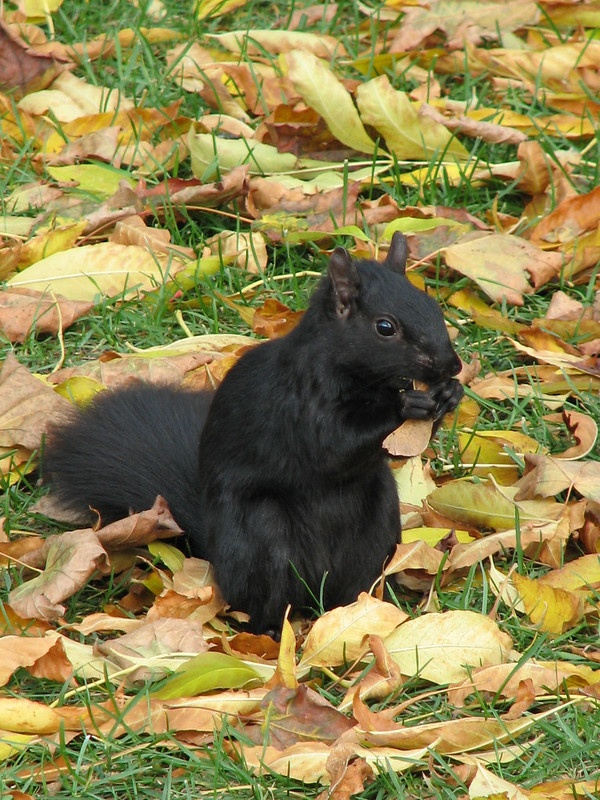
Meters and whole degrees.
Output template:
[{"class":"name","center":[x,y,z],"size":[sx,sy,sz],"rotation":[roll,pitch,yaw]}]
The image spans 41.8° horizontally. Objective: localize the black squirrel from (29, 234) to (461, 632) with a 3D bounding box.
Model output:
[{"class":"black squirrel","center":[-0.081,0.116,2.247],"size":[1.374,0.919,0.669],"rotation":[-2,14,32]}]
